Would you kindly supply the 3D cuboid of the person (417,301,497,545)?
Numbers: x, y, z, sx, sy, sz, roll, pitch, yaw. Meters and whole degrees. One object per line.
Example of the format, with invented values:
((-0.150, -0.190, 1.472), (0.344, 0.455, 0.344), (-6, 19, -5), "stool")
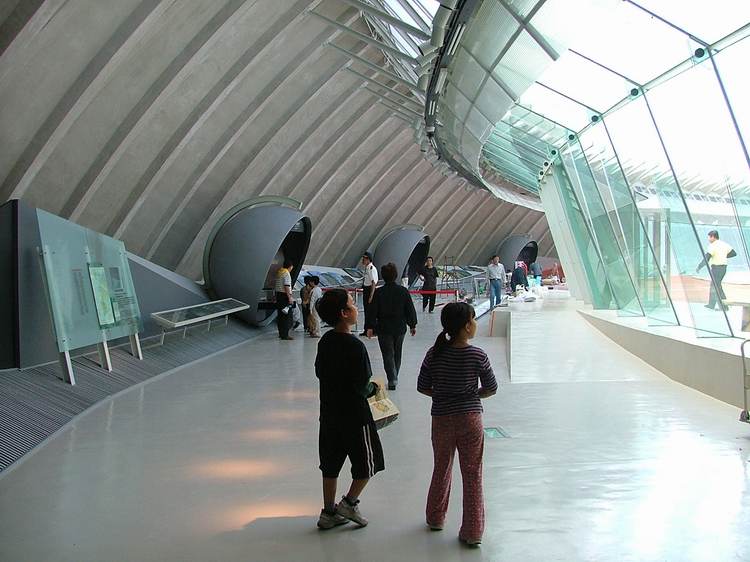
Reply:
((0.584, 1.000, 3.421), (0.558, 1.699, 0.396), (0, 1, 18), "person")

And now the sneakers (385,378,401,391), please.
((0.281, 1.747, 7.930), (0.165, 0.225, 0.210), (5, -7, -43), "sneakers")

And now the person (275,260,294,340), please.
((-2.668, 0.582, 13.720), (0.430, 2.289, 0.896), (-1, 1, -13), "person")

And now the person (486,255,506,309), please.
((4.370, 0.044, 17.132), (0.462, 1.964, 1.173), (0, 1, 13), "person")

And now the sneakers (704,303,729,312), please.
((5.851, 0.451, 8.065), (0.217, 0.094, 0.168), (-3, 0, 21), "sneakers")

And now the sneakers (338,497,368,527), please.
((-0.177, 1.782, 3.592), (0.237, 0.150, 0.079), (41, 0, -11), "sneakers")

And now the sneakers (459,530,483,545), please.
((0.660, 1.781, 3.272), (0.156, 0.102, 0.106), (0, 1, 10), "sneakers")

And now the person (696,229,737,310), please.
((5.676, -0.179, 7.813), (0.309, 1.357, 0.984), (0, 1, 27), "person")

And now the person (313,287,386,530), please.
((-0.199, 0.963, 3.559), (0.482, 1.801, 0.320), (-1, 1, -9), "person")
